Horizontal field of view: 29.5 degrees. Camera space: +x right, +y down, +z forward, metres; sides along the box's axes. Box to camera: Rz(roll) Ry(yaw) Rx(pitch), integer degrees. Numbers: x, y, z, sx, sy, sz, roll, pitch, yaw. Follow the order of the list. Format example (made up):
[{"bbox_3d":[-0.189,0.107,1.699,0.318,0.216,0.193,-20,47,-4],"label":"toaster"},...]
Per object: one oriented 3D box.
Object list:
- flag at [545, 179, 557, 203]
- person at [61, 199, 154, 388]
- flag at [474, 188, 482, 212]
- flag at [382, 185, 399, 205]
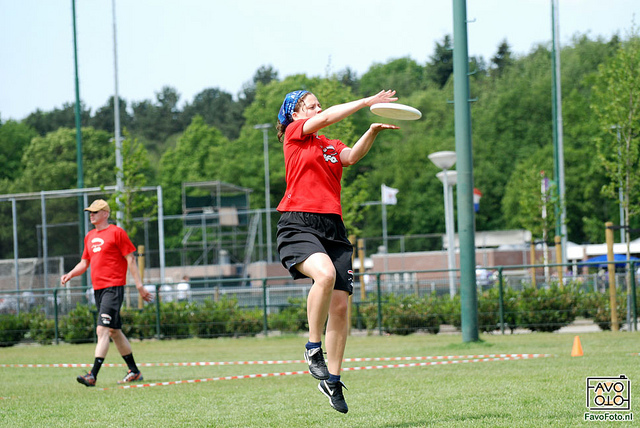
[{"bbox_3d":[5.404,-0.567,28.615,0.413,0.430,0.193,0,-1,19],"label":"flag"},{"bbox_3d":[-4.084,1.507,23.503,1.240,3.622,0.639,-2,-7,-12],"label":"person"},{"bbox_3d":[3.823,-0.368,29.391,0.184,0.530,0.492,-4,-7,7],"label":"flag"},{"bbox_3d":[3.044,-0.826,52.854,0.099,0.888,0.975,-5,-7,32],"label":"flag"}]
